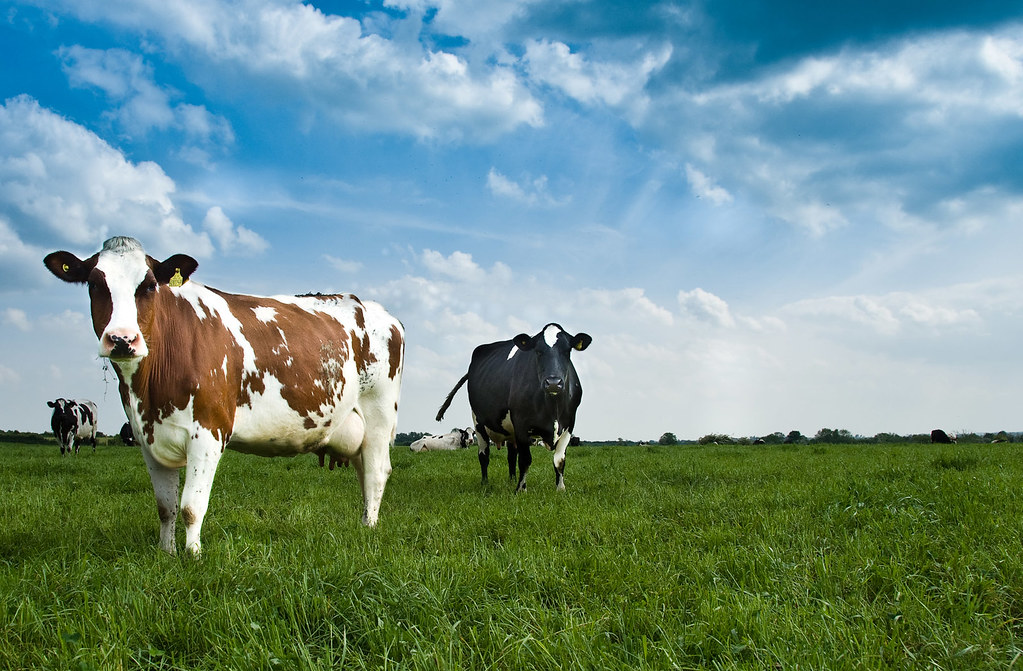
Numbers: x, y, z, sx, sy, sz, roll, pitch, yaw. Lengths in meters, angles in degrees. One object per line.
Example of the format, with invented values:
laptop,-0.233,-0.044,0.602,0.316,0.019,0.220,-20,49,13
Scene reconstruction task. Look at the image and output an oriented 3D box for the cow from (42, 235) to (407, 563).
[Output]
cow,-3.172,0.760,9.199,0.901,3.747,3.950,-1,-1,37
